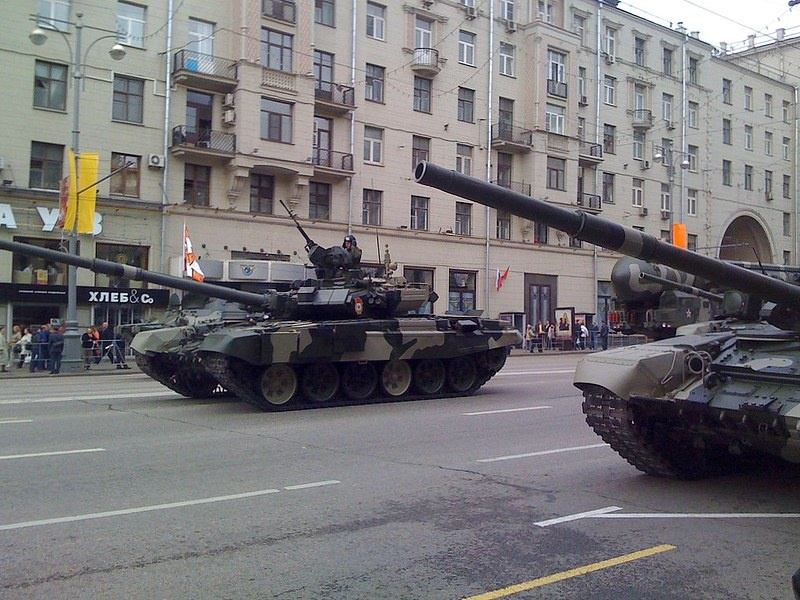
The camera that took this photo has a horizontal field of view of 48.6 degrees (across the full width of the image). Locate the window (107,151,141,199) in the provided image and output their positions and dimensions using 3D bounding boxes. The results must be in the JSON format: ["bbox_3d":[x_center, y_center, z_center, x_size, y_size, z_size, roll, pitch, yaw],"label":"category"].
[{"bbox_3d":[-9.525,-4.315,30.653,0.183,1.976,1.659,-3,-5,45],"label":"window"}]

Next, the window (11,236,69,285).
[{"bbox_3d":[-12.175,-1.186,30.100,1.419,1.405,0.766,-2,3,-29],"label":"window"}]

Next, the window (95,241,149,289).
[{"bbox_3d":[-9.764,-1.274,31.487,1.803,1.809,0.991,-3,-2,-18],"label":"window"}]

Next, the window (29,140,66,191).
[{"bbox_3d":[-11.628,-4.475,29.412,1.146,1.540,0.413,-2,5,-27],"label":"window"}]
